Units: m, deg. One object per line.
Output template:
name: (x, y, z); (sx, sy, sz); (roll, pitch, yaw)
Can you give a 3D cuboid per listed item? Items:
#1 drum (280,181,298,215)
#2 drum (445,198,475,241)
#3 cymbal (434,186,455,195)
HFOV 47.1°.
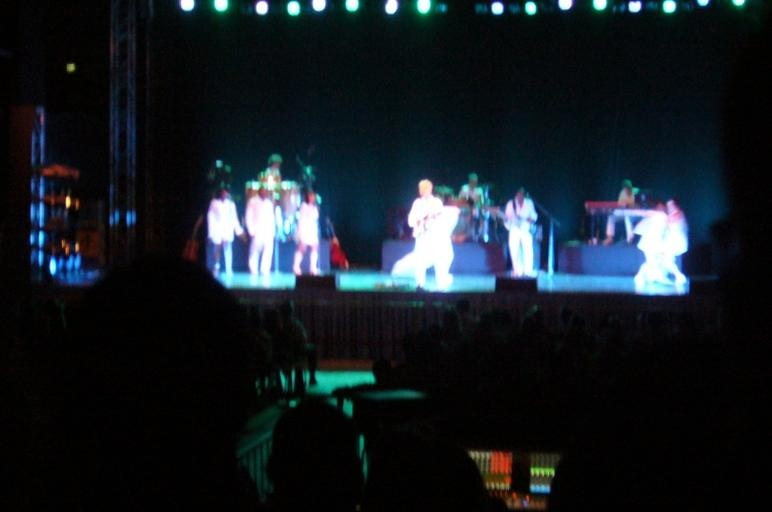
drum: (-1.050, -0.635, 9.623); (0.079, 0.322, 0.223); (1, 0, 42)
drum: (0.956, -0.423, 10.294); (0.305, 0.506, 0.344); (4, -1, -27)
cymbal: (0.671, -0.759, 10.317); (0.188, 0.061, 0.200); (1, 6, -3)
